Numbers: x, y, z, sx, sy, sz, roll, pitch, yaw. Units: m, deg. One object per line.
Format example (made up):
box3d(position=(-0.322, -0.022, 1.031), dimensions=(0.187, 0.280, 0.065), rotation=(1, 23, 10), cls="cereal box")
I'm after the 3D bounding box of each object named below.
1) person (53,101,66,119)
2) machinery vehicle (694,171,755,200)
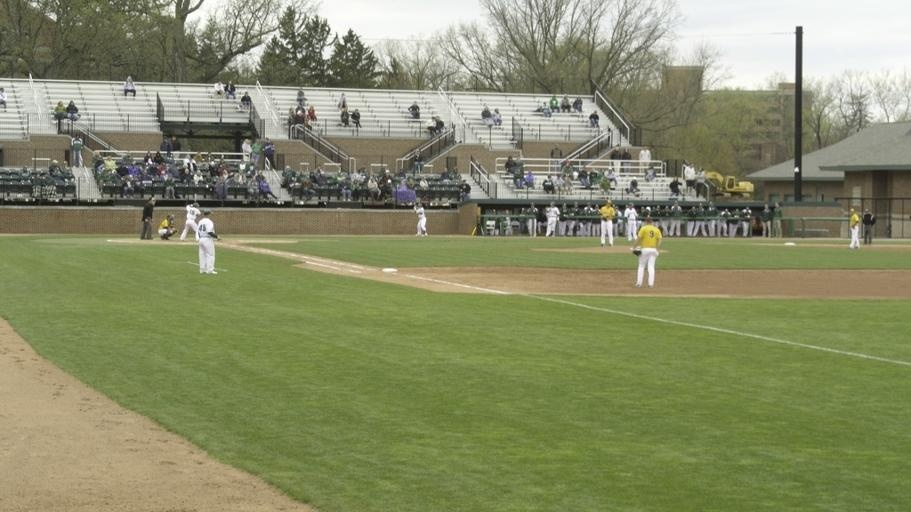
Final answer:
box3d(position=(-25.157, -9.283, 84.255), dimensions=(0.769, 1.166, 1.228), rotation=(-2, 5, -15), cls="person")
box3d(position=(19.850, -5.446, 97.563), dimensions=(2.761, 3.089, 8.203), rotation=(2, 3, 19), cls="machinery vehicle")
